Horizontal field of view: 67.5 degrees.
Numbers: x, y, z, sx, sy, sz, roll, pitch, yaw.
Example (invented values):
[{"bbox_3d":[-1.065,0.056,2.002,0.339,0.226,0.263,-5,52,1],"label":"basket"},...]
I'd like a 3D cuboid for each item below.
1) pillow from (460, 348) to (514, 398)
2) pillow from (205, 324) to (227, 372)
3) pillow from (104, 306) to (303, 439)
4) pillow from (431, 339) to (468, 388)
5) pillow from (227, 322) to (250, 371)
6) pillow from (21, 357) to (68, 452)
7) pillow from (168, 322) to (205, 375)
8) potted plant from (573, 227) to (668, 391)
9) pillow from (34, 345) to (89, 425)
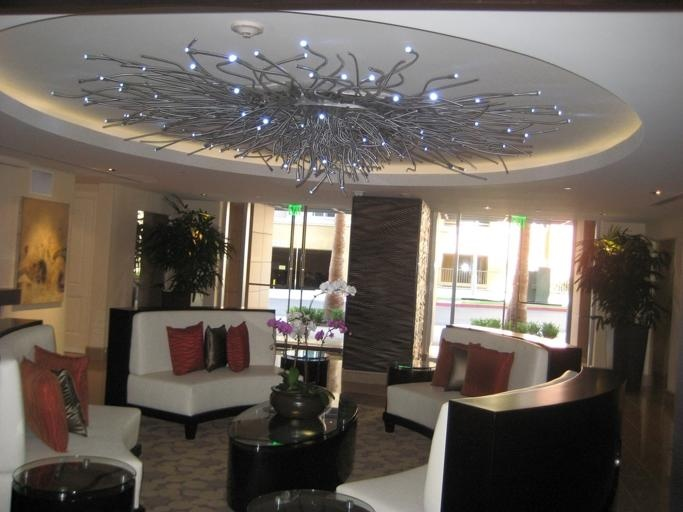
[{"bbox_3d":[1.493,1.195,5.209,0.278,0.471,0.501,17,-11,-42],"label":"pillow"},{"bbox_3d":[-1.412,1.060,5.718,0.156,0.381,0.421,-3,8,10],"label":"pillow"},{"bbox_3d":[-1.931,1.344,5.995,1.027,1.192,2.002,6,-11,3],"label":"pillow"},{"bbox_3d":[1.166,1.187,5.481,0.140,0.421,0.457,12,-8,-33],"label":"pillow"},{"bbox_3d":[-1.179,1.060,5.830,0.149,0.429,0.407,-7,-16,20],"label":"pillow"},{"bbox_3d":[-1.942,0.996,3.329,0.172,0.380,0.523,-28,4,-31],"label":"pillow"},{"bbox_3d":[-1.692,1.030,5.533,0.508,0.585,0.230,0,-19,-44],"label":"pillow"},{"bbox_3d":[4.775,0.832,8.673,1.308,2.803,0.842,2,0,32],"label":"potted plant"},{"bbox_3d":[-2.084,0.983,3.978,0.487,0.544,0.162,-2,-9,-13],"label":"pillow"}]
